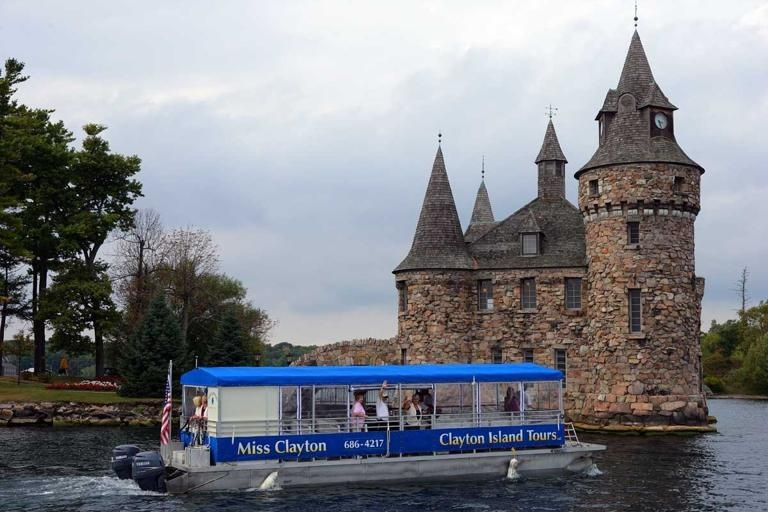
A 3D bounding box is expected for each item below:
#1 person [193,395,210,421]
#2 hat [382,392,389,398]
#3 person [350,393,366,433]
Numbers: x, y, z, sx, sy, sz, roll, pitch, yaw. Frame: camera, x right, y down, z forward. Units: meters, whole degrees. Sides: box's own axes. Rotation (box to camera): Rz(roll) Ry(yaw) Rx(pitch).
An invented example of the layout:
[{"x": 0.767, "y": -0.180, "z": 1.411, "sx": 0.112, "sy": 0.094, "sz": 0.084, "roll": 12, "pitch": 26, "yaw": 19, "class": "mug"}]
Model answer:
[{"x": -9.741, "y": 8.070, "z": 74.841, "sx": 0.541, "sy": 1.364, "sz": 0.975, "roll": 18, "pitch": -28, "yaw": -29, "class": "person"}, {"x": 0.084, "y": 7.514, "z": 76.360, "sx": 0.270, "sy": 0.328, "sz": 0.494, "roll": 3, "pitch": 0, "yaw": 44, "class": "hat"}, {"x": -1.376, "y": 8.246, "z": 75.203, "sx": 0.849, "sy": 2.188, "sz": 0.697, "roll": -1, "pitch": -10, "yaw": -1, "class": "person"}]
